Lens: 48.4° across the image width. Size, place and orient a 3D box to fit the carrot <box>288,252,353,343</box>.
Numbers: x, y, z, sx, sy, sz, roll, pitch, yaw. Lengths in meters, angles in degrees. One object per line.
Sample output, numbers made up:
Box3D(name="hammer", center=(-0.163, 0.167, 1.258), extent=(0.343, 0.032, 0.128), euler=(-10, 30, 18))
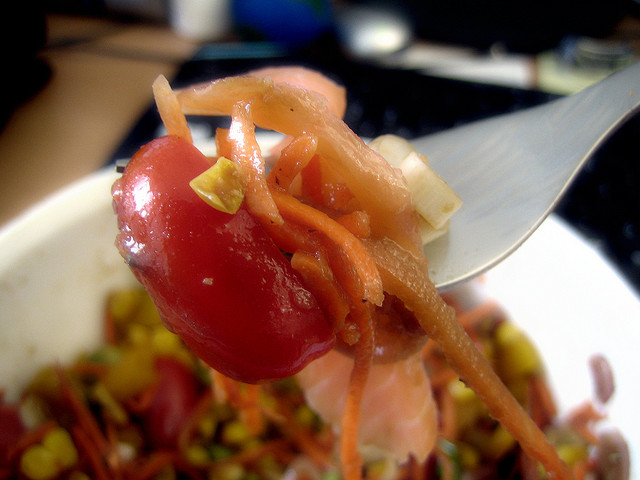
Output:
Box3D(name="carrot", center=(0.001, 0.116, 1.436), extent=(0.086, 0.177, 0.050), euler=(-41, 23, -29))

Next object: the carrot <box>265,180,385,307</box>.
Box3D(name="carrot", center=(0.009, 0.017, 1.436), extent=(0.052, 0.074, 0.272), euler=(-41, 86, -21))

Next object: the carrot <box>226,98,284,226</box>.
Box3D(name="carrot", center=(-0.136, -0.145, 1.412), extent=(0.071, 0.165, 0.211), euler=(-11, 45, -22))

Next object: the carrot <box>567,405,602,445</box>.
Box3D(name="carrot", center=(0.661, 0.475, 1.795), extent=(0.023, 0.068, 0.070), euler=(7, 51, -39))

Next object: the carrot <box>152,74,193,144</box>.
Box3D(name="carrot", center=(-0.299, -0.264, 1.434), extent=(0.060, 0.097, 0.122), euler=(-12, 46, -23))
